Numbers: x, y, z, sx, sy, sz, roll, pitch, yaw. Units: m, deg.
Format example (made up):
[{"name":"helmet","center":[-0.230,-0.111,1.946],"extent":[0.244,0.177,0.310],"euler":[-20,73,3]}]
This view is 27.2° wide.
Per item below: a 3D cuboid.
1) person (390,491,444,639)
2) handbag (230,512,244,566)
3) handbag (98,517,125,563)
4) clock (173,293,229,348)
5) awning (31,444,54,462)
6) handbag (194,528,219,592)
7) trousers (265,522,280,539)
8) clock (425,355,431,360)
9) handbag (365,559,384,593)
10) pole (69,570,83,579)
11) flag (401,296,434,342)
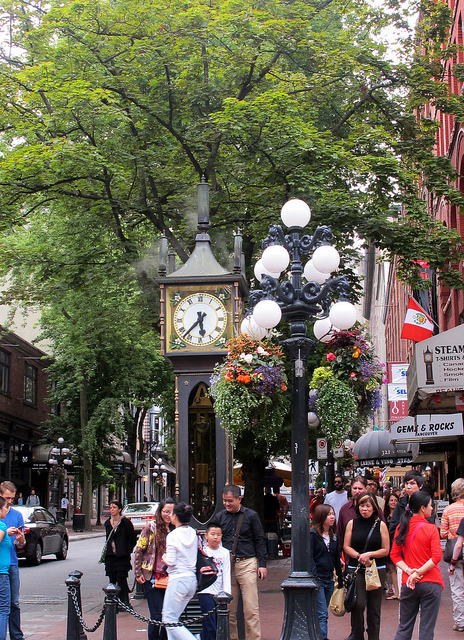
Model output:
[{"name":"person","center":[1.658,2.238,8.647],"extent":[0.454,1.323,0.450],"euler":[-2,-9,-1]},{"name":"handbag","center":[0.037,2.281,9.942],"extent":[0.082,0.556,0.080],"euler":[-5,-38,21]},{"name":"handbag","center":[-1.757,3.203,13.903],"extent":[0.323,0.619,0.765],"euler":[-1,-9,-8]},{"name":"clock","center":[-0.425,0.047,13.555],"extent":[0.881,0.794,0.061],"euler":[2,-22,6]},{"name":"awning","center":[-9.157,6.455,45.728],"extent":[0.998,0.826,0.854],"euler":[0,-1,1]},{"name":"handbag","center":[-0.233,2.231,8.555],"extent":[0.184,0.392,0.184],"euler":[1,-3,-5]},{"name":"trousers","center":[1.084,5.858,26.733],"extent":[0.507,0.452,0.892],"euler":[-3,-10,3]},{"name":"clock","center":[3.161,0.620,15.579],"extent":[0.087,0.073,0.013],"euler":[0,-9,-16]},{"name":"handbag","center":[1.386,2.582,9.586],"extent":[0.151,0.338,0.246],"euler":[-4,-9,12]},{"name":"pole","center":[-1.583,2.595,9.697],"extent":[0.157,0.100,0.149],"euler":[1,2,-14]},{"name":"flag","center":[4.250,-0.017,22.153],"extent":[0.625,1.111,0.680],"euler":[1,-6,5]}]
